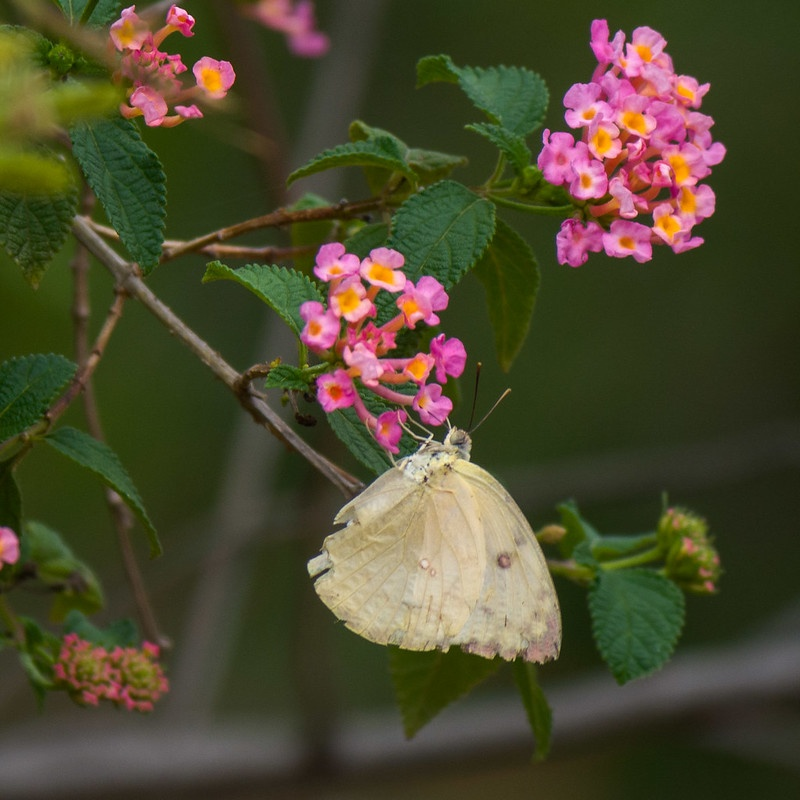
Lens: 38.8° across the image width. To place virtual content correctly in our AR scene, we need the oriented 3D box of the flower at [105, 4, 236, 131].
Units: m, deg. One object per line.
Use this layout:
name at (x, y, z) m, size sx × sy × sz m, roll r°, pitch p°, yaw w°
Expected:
flower at (-0.566, -0.814, 2.822) m, size 0.182 × 0.301 × 0.398 m, roll 10°, pitch 0°, yaw 13°

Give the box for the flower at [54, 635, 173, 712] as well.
flower at (-0.747, 0.703, 2.917) m, size 0.221 × 0.230 × 0.081 m, roll -20°, pitch -31°, yaw -32°

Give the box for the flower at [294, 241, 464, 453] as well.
flower at (-0.132, -0.072, 2.787) m, size 0.177 × 0.462 × 0.472 m, roll -16°, pitch -64°, yaw 47°

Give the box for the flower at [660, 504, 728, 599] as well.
flower at (0.791, 0.429, 3.151) m, size 0.099 × 0.211 × 0.214 m, roll -29°, pitch -40°, yaw 10°
